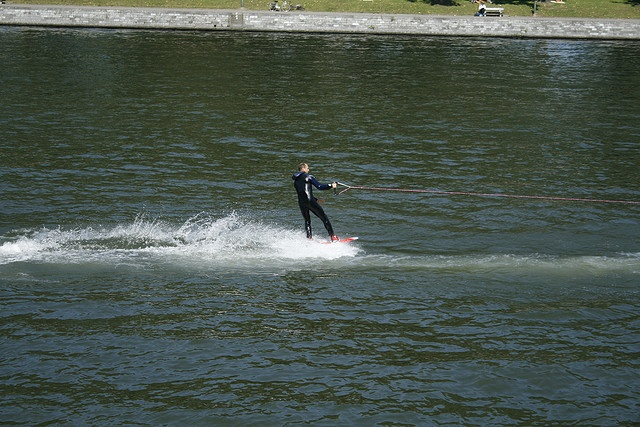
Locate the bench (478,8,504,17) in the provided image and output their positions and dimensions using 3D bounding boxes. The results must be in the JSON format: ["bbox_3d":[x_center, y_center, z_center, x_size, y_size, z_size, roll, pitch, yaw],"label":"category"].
[{"bbox_3d":[13.504,-15.904,75.686,2.124,0.522,0.458,4,59,11],"label":"bench"}]
